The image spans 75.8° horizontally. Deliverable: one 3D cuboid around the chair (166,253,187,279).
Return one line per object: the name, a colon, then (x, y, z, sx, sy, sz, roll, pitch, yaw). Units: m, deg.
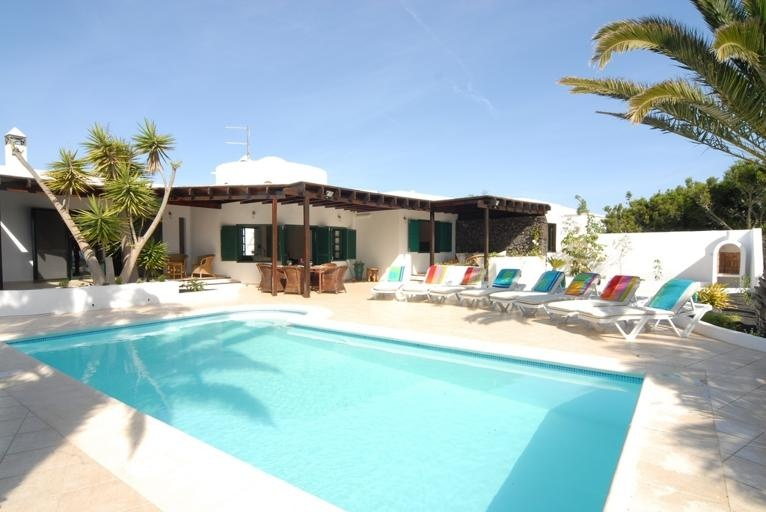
chair: (-7.960, 0.371, 18.816, 0.858, 1.069, 0.760, 1, -9, -16)

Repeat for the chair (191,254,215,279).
chair: (-6.938, 0.392, 18.872, 0.844, 1.062, 0.830, -5, -9, 39)

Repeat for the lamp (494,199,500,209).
lamp: (4.243, -1.950, 18.404, 0.226, 0.317, 0.319, 0, 2, 3)

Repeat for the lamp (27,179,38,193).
lamp: (-10.310, -2.075, 14.460, 0.277, 0.398, 0.555, -10, 18, -34)

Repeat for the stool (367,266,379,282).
stool: (-0.436, 0.754, 20.996, 0.614, 0.644, 0.527, -1, -5, 6)
